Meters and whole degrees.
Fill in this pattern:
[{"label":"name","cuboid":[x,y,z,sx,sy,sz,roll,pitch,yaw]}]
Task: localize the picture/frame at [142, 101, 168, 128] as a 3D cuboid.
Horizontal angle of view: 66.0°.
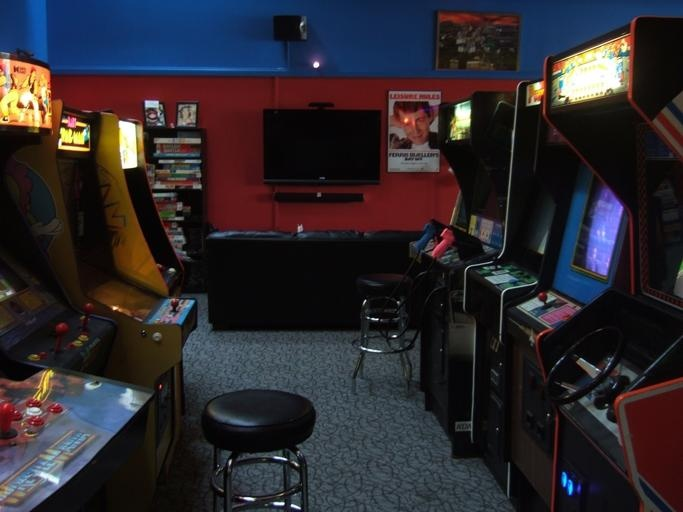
[{"label":"picture/frame","cuboid":[-2.271,-1.716,6.311,0.276,0.329,0.241,-1,12,-6]}]
